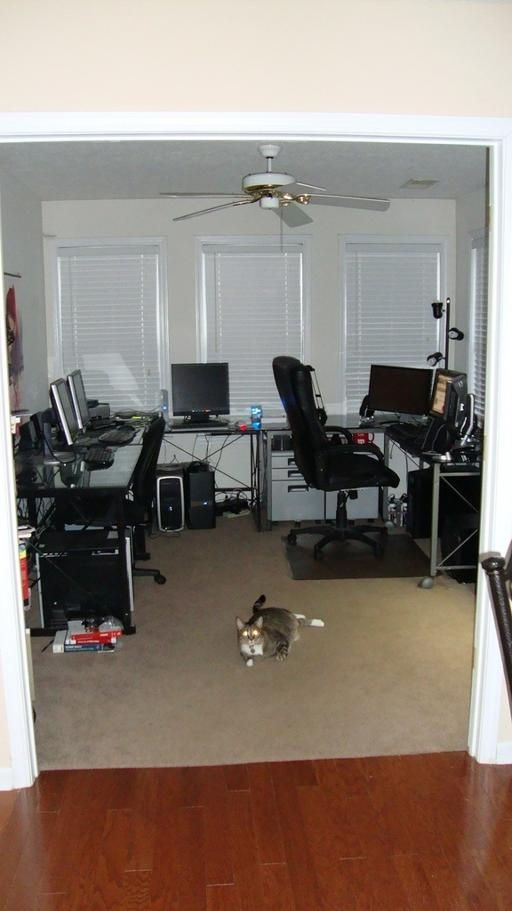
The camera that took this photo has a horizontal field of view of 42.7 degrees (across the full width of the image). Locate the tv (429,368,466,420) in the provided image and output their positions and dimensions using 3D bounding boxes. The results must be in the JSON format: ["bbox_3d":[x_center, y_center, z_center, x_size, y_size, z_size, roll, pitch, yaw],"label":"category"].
[{"bbox_3d":[1.154,-0.365,3.949,0.139,0.228,0.284,19,12,-4],"label":"tv"}]

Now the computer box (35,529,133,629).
[{"bbox_3d":[-0.789,0.559,3.333,0.509,0.627,0.339,1,12,-2],"label":"computer box"}]

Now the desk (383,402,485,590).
[{"bbox_3d":[1.179,0.160,4.130,0.345,0.978,1.057,-3,13,2],"label":"desk"}]

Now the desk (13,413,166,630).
[{"bbox_3d":[-0.843,0.516,3.763,0.473,0.691,1.294,-2,0,-3],"label":"desk"}]

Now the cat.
[{"bbox_3d":[0.071,0.784,2.921,0.210,0.170,0.335,-5,18,8],"label":"cat"}]

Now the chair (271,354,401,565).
[{"bbox_3d":[0.509,-0.018,4.121,0.675,1.289,0.711,-3,15,4],"label":"chair"}]

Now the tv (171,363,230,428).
[{"bbox_3d":[-0.431,-0.473,5.023,0.401,0.507,0.150,0,4,-5],"label":"tv"}]

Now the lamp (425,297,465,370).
[{"bbox_3d":[1.452,-0.944,4.987,0.268,0.553,0.914,1,6,16],"label":"lamp"}]

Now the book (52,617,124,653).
[{"bbox_3d":[-0.767,0.820,3.017,0.190,0.092,0.161,1,10,-8],"label":"book"}]
